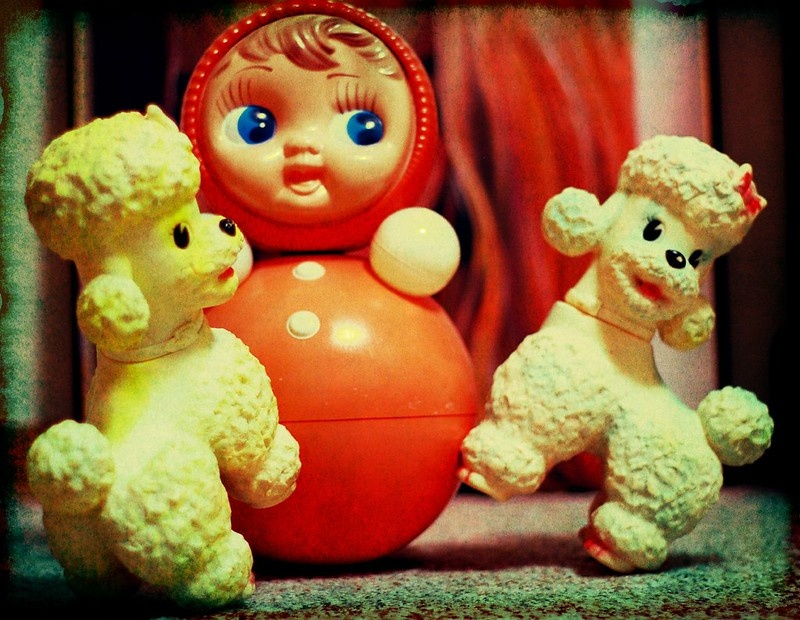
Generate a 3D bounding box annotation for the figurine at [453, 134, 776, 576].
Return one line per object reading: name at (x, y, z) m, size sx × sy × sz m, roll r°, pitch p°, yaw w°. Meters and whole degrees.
figurine at (0.433, 0.075, 1.897) m, size 0.498 × 0.477 × 0.598 m, roll 20°, pitch 53°, yaw 9°
